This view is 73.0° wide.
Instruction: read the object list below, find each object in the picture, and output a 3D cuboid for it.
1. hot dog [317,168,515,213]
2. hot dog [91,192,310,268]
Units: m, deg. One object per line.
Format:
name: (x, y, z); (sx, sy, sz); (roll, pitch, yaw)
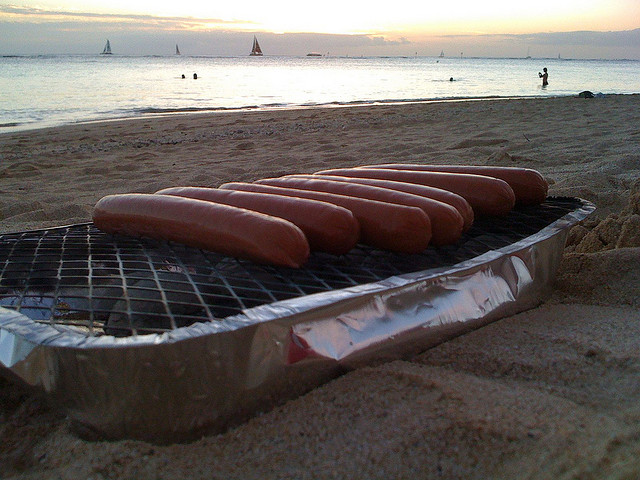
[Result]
hot dog: (0.351, -0.289, 2.533); (1.416, 0.190, 0.238); (3, 1, 10)
hot dog: (-0.714, -0.107, 2.244); (1.539, 0.255, 0.324); (8, 22, 34)
